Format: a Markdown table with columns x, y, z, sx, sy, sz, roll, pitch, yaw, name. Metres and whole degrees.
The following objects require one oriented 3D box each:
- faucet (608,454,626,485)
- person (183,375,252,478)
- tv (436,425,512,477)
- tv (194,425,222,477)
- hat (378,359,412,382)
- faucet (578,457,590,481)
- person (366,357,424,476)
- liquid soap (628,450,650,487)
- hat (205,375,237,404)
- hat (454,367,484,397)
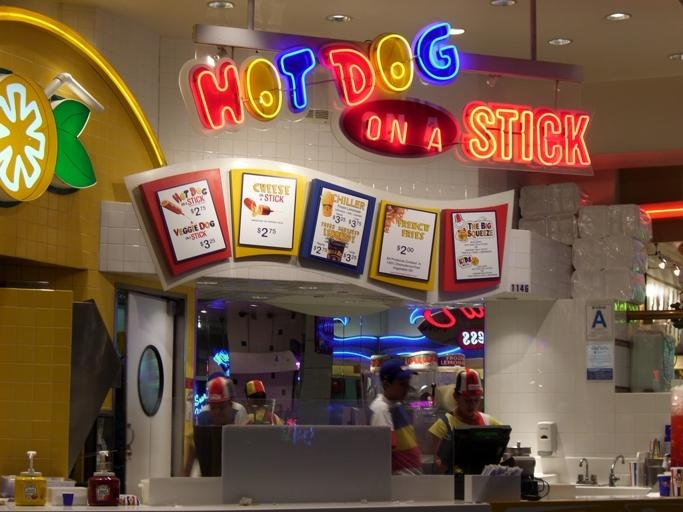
| x | y | z | sx | sy | sz | roll | pitch | yaw | name |
| --- | --- | --- | --- | --- | --- | --- | --- | --- | --- |
| 3.045 | 2.372 | 8.576 | 0.194 | 0.309 | 0.374 | -4 | -10 | 18 | faucet |
| -0.853 | 1.363 | 5.671 | 0.412 | 0.969 | 0.310 | 0 | 6 | 12 | person |
| 0.975 | 1.422 | 5.674 | 0.505 | 0.343 | 0.199 | -1 | -10 | 5 | tv |
| -0.869 | 1.332 | 5.354 | 0.211 | 0.341 | 0.224 | -5 | -1 | -19 | tv |
| 0.429 | 0.898 | 6.051 | 0.198 | 0.113 | 0.148 | -6 | 6 | -6 | hat |
| 2.729 | 2.415 | 8.736 | 0.127 | 0.250 | 0.207 | -3 | -10 | 17 | faucet |
| 0.399 | 1.166 | 5.694 | 0.354 | 0.817 | 0.811 | -1 | -10 | 6 | person |
| 3.198 | 2.292 | 8.328 | 0.194 | 0.315 | 0.585 | -4 | -11 | 20 | liquid soap |
| -0.884 | 0.979 | 5.673 | 0.173 | 0.151 | 0.240 | -1 | 1 | 1 | hat |
| 1.071 | 1.057 | 6.520 | 0.248 | 0.213 | 0.353 | 1 | 2 | 1 | hat |
